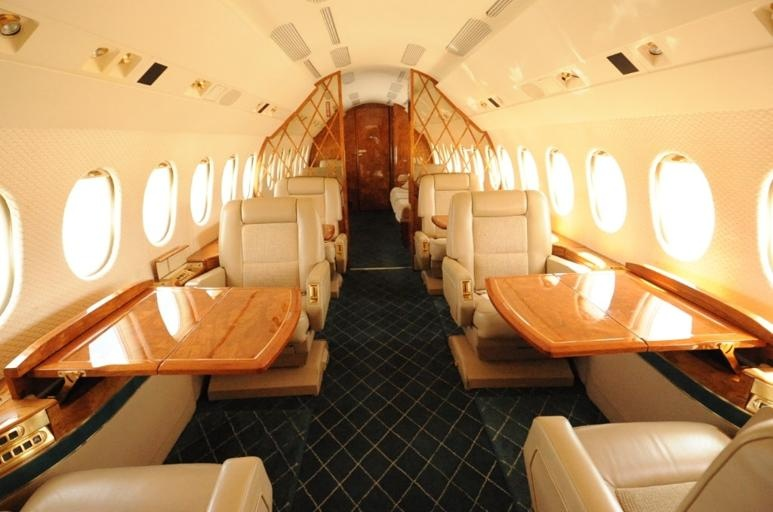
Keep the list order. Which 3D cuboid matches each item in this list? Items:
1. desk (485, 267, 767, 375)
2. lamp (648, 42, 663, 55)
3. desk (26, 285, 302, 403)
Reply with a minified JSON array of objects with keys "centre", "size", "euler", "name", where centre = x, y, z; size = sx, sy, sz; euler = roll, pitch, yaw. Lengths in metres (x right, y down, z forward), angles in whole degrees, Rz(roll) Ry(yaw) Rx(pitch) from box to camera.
[{"centre":[1.519,0.416,3.489],"size":[1.527,0.427,0.958],"euler":[-2,11,-1],"name":"desk"},{"centre":[1.819,-1.420,3.361],"size":[0.081,0.077,0.126],"euler":[1,11,16],"name":"lamp"},{"centre":[-1.308,0.561,3.388],"size":[1.427,0.474,0.936],"euler":[-1,11,3],"name":"desk"}]
